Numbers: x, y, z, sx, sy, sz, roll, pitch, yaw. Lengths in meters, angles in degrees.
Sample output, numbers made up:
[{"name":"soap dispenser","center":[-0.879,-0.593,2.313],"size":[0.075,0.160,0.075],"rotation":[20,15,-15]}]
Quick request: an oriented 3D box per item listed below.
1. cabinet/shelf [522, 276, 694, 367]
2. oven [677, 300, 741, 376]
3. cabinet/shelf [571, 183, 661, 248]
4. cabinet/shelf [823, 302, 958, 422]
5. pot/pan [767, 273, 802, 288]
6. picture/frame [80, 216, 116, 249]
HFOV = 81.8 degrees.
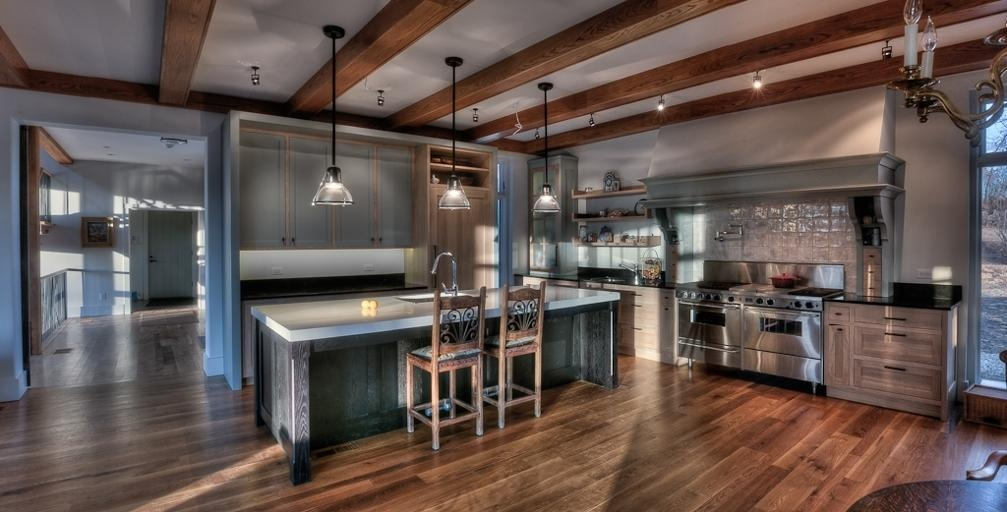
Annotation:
[{"name":"cabinet/shelf","center":[2.217,1.062,10.922],"size":[0.968,1.321,3.216],"rotation":[-6,6,-39]},{"name":"oven","center":[3.613,1.209,9.632],"size":[1.208,1.196,1.050],"rotation":[1,5,30]},{"name":"cabinet/shelf","center":[2.126,-0.783,11.006],"size":[1.706,0.959,0.539],"rotation":[14,13,37]},{"name":"cabinet/shelf","center":[5.572,1.497,8.227],"size":[1.912,1.491,1.026],"rotation":[0,-5,35]},{"name":"pot/pan","center":[4.459,0.385,9.135],"size":[0.396,0.148,0.277],"rotation":[1,3,39]},{"name":"picture/frame","center":[-9.040,-0.560,12.910],"size":[0.850,0.817,0.101],"rotation":[-2,10,-30]}]
